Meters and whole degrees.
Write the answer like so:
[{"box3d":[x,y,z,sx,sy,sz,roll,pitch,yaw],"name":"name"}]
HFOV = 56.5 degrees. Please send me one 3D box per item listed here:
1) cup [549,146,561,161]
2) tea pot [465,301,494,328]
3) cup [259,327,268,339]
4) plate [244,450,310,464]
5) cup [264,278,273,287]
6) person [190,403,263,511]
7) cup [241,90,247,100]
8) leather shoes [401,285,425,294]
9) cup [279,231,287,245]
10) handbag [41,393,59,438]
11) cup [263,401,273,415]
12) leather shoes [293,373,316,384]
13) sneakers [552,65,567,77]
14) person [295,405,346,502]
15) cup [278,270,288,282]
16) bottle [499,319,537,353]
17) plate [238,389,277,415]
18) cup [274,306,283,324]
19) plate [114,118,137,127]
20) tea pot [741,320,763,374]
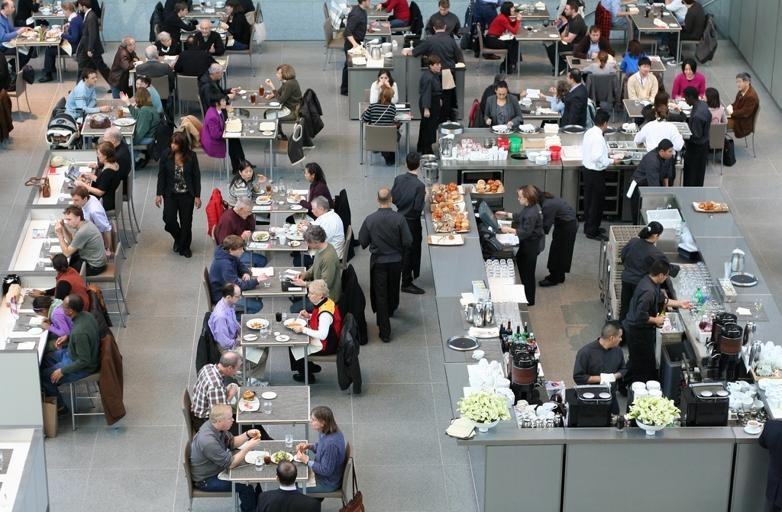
[{"box3d":[3.112,-1.969,13.985,0.244,0.191,0.259,-2,38,2],"name":"cup"},{"box3d":[1.157,0.784,9.669,0.394,0.379,0.234,1,36,5],"name":"tea pot"},{"box3d":[-1.757,1.067,9.915,0.110,0.171,0.114,1,38,-1],"name":"cup"},{"box3d":[-1.405,2.305,8.295,0.395,0.039,0.267,1,21,0],"name":"plate"},{"box3d":[-1.871,0.397,10.795,0.131,0.057,0.196,-6,41,-3],"name":"cup"},{"box3d":[-1.943,2.379,8.413,0.733,1.247,0.569,-8,48,-9],"name":"person"},{"box3d":[-3.183,-3.412,15.459,0.078,0.084,0.239,-3,31,-5],"name":"cup"},{"box3d":[0.332,0.595,12.435,0.314,0.126,0.166,1,18,3],"name":"leather shoes"},{"box3d":[-1.752,-0.267,11.590,0.122,0.176,0.187,5,32,5],"name":"cup"},{"box3d":[-4.547,2.111,9.542,0.189,0.525,0.377,-8,38,-20],"name":"handbag"},{"box3d":[-1.547,1.859,8.876,0.128,0.119,0.088,15,42,13],"name":"cup"},{"box3d":[-1.244,1.777,10.518,0.404,0.171,0.147,6,60,-1],"name":"leather shoes"},{"box3d":[4.348,-4.769,18.900,0.220,0.254,0.626,2,35,6],"name":"sneakers"},{"box3d":[-0.898,2.400,8.500,0.662,1.246,0.608,5,8,6],"name":"person"},{"box3d":[-1.655,0.311,10.912,0.136,0.061,0.290,-10,41,-8],"name":"cup"},{"box3d":[1.582,1.066,9.247,0.345,0.196,0.459,0,20,3],"name":"bottle"},{"box3d":[-1.703,1.813,8.950,0.282,0.021,0.319,3,30,-1],"name":"plate"},{"box3d":[-1.605,0.874,10.182,0.128,0.131,0.140,1,20,0],"name":"cup"},{"box3d":[-5.356,-2.633,14.415,0.261,0.037,0.255,-20,40,-33],"name":"plate"},{"box3d":[4.491,1.170,9.099,0.141,0.531,0.379,-2,17,15],"name":"tea pot"}]
